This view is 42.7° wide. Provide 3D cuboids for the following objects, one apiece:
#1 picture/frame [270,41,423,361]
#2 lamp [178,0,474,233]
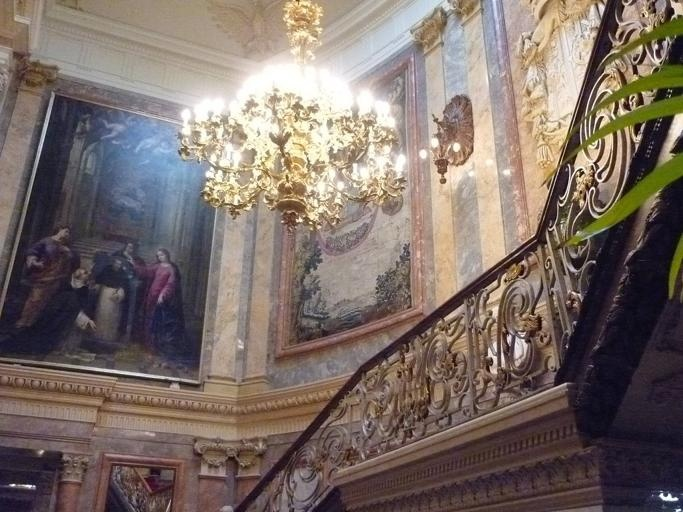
[{"bbox_3d":[0.099,-0.508,11.049,0.208,4.546,3.177,19,-33,-32],"label":"picture/frame"},{"bbox_3d":[-0.474,-1.669,9.581,2.192,2.868,1.198,4,-8,-3],"label":"lamp"}]
